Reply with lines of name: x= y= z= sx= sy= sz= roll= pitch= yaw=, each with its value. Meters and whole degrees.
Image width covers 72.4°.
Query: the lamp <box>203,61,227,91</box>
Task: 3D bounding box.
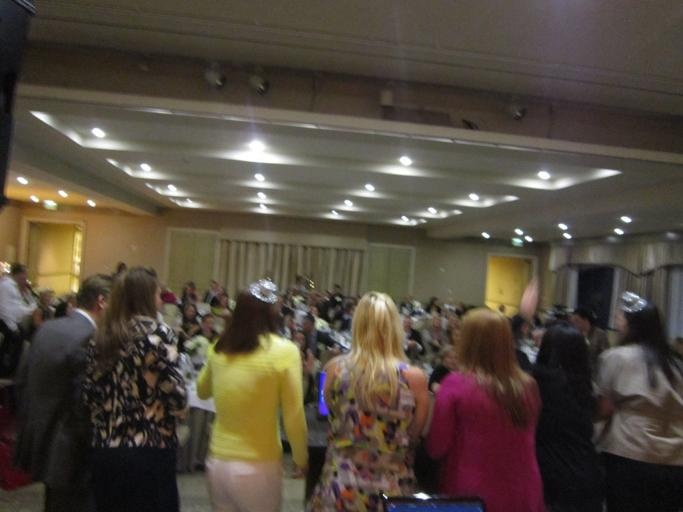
lamp: x=-0.776 y=-1.104 z=2.862 sx=0.106 sy=0.158 sz=0.049 roll=-8 pitch=15 yaw=1

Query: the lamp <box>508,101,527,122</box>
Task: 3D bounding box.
lamp: x=1.150 y=-0.948 z=3.047 sx=0.101 sy=0.116 sz=0.029 roll=-2 pitch=11 yaw=0
